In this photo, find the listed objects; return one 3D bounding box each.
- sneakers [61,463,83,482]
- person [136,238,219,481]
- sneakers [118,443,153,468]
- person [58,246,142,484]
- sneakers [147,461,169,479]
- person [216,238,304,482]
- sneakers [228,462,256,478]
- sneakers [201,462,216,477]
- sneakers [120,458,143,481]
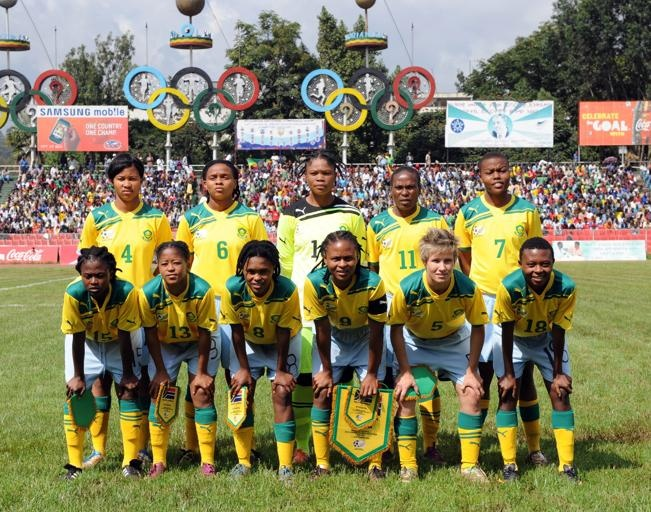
[{"bbox_3d":[-3.048,2.564,10.879,0.243,0.109,0.213,1,15,4],"label":"sneakers"},{"bbox_3d":[-1.758,1.230,11.014,0.950,2.714,0.824,-2,14,-7],"label":"person"},{"bbox_3d":[-2.302,2.438,11.347,0.231,0.195,0.546,-18,-9,9],"label":"sneakers"},{"bbox_3d":[-2.700,1.232,10.988,1.017,2.696,0.909,-4,14,-13],"label":"person"},{"bbox_3d":[-2.024,2.555,10.931,0.226,0.099,0.210,-4,16,-14],"label":"sneakers"},{"bbox_3d":[-0.769,1.217,11.028,0.954,2.751,0.888,-1,14,-3],"label":"person"},{"bbox_3d":[-1.025,2.570,10.979,0.261,0.089,0.256,-1,16,-2],"label":"sneakers"},{"bbox_3d":[-1.419,2.551,10.969,0.180,0.105,0.149,-1,15,0],"label":"sneakers"},{"bbox_3d":[-2.320,2.559,10.955,0.154,0.107,0.256,-3,-23,-45],"label":"sneakers"}]
